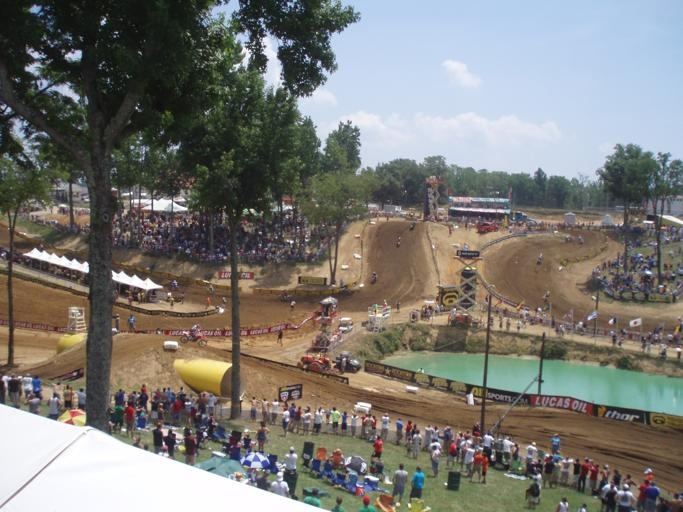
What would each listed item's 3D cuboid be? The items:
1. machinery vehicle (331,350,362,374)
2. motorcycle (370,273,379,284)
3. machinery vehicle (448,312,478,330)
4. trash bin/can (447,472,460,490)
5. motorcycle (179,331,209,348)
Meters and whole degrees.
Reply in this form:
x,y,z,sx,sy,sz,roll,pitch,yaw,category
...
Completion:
x,y,z,sx,sy,sz,roll,pitch,yaw,category
0.560,8.918,89.648,2.090,1.125,1.263,-1,12,11,machinery vehicle
3.553,2.353,116.779,0.599,1.189,0.727,7,-25,8,motorcycle
11.892,6.198,103.654,2.184,1.009,1.547,2,1,11,machinery vehicle
7.236,14.251,67.955,1.023,1.072,1.023,0,-3,-4,trash bin/can
-11.741,6.761,85.251,1.991,1.284,1.079,15,12,-8,motorcycle
